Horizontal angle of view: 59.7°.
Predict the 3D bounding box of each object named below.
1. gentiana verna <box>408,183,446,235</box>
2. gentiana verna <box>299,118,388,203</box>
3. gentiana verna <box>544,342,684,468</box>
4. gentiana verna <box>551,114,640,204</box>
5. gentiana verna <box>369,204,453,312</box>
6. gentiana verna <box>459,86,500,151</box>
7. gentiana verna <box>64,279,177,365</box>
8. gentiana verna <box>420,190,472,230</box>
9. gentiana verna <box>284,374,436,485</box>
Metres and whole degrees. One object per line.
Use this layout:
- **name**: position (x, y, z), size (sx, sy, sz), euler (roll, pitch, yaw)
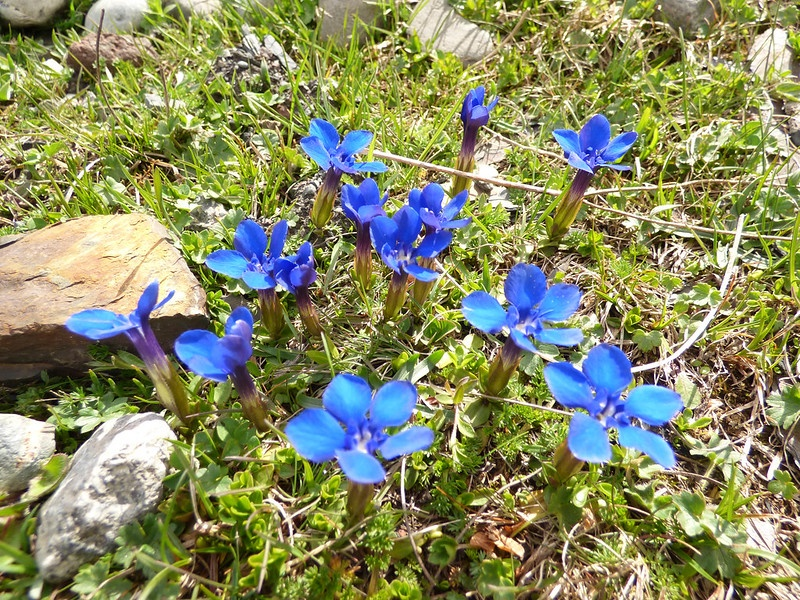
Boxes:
- **gentiana verna**: position (0.153, -0.478, 3.548), size (0.225, 0.180, 0.219), euler (-11, 43, -29)
- **gentiana verna**: position (-0.321, -0.762, 3.803), size (0.354, 0.269, 0.402), euler (-41, 81, -22)
- **gentiana verna**: position (0.893, 0.462, 2.979), size (0.534, 0.194, 0.580), euler (6, 23, -38)
- **gentiana verna**: position (1.032, -0.767, 3.872), size (0.395, 0.334, 0.409), euler (34, 65, 20)
- **gentiana verna**: position (0.059, -0.210, 3.600), size (0.307, 0.430, 0.290), euler (-37, 72, -25)
- **gentiana verna**: position (0.453, -1.089, 4.060), size (0.181, 0.405, 0.348), euler (10, 61, 5)
- **gentiana verna**: position (-1.237, 0.147, 3.196), size (0.450, 0.360, 0.242), euler (-17, 62, -10)
- **gentiana verna**: position (0.222, -0.450, 3.563), size (0.228, 0.173, 0.226), euler (14, 40, -9)
- **gentiana verna**: position (-0.181, 0.522, 2.896), size (0.515, 0.150, 0.515), euler (-32, 67, -25)
